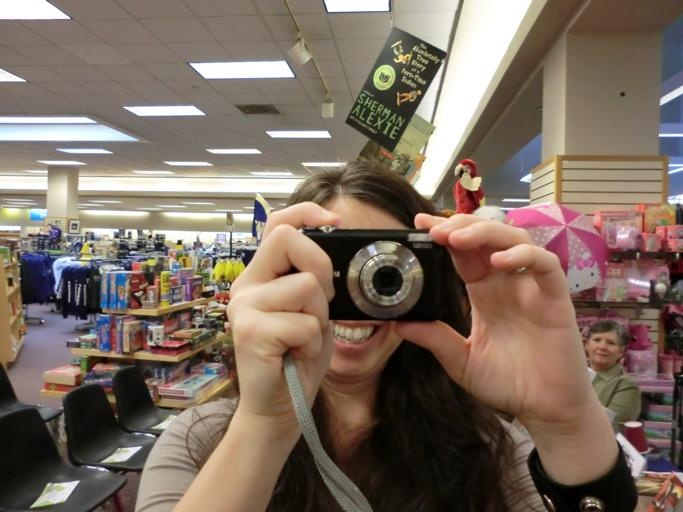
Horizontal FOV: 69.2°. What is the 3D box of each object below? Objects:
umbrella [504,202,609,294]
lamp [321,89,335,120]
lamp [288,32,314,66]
[{"bbox_3d":[1.353,-0.016,3.390,0.642,0.649,0.207,-25,-2,-29],"label":"umbrella"},{"bbox_3d":[-0.223,-2.204,7.330,0.253,0.521,0.264,-1,3,-6],"label":"lamp"},{"bbox_3d":[-0.469,-2.286,5.563,0.238,0.236,0.314,-24,-25,-26],"label":"lamp"}]
